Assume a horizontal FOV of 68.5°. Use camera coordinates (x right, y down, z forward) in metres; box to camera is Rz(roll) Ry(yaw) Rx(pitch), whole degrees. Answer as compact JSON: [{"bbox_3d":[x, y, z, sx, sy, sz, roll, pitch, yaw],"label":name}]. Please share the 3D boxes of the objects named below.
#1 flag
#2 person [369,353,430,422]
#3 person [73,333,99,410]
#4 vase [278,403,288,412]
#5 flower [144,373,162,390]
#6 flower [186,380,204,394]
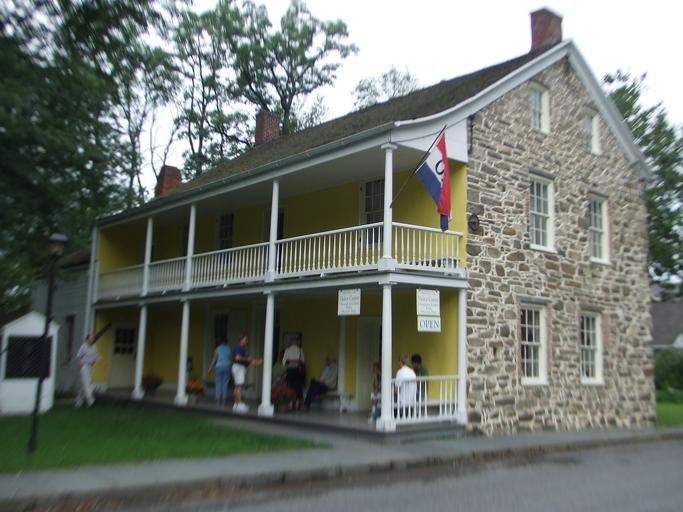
[{"bbox_3d":[2.142,-1.761,11.330,0.921,2.163,0.412,9,-11,-42],"label":"flag"},{"bbox_3d":[1.592,2.957,11.439,0.715,1.386,1.743,1,-9,10],"label":"person"},{"bbox_3d":[-7.480,3.356,14.660,0.547,2.117,1.355,6,-9,-25],"label":"person"},{"bbox_3d":[-1.561,4.047,13.434,0.310,0.231,0.770,3,-9,-6],"label":"vase"},{"bbox_3d":[-7.600,5.004,20.022,0.552,0.413,0.555,0,2,-42],"label":"flower"},{"bbox_3d":[-4.558,4.060,15.555,0.356,0.406,0.798,1,-9,8],"label":"flower"}]
